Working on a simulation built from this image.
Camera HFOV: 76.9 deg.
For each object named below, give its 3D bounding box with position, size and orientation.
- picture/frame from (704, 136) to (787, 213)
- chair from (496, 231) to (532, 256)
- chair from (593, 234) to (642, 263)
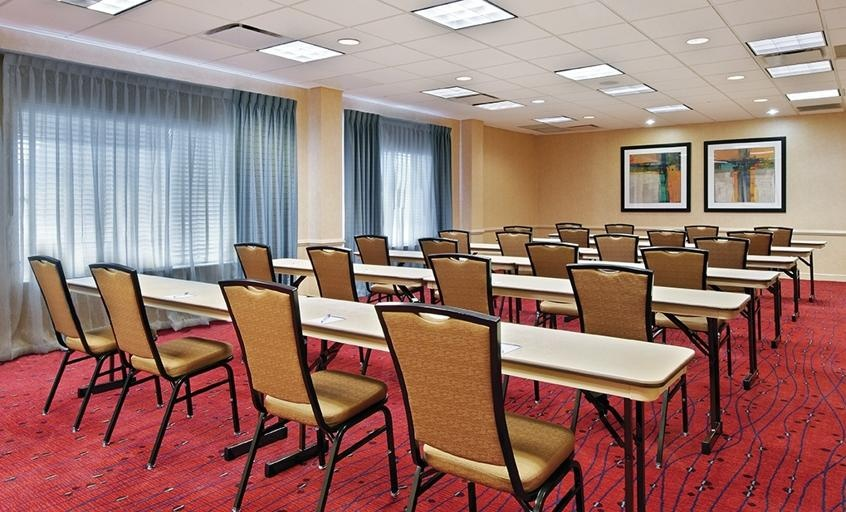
[{"bbox_3d":[6.359,-1.567,10.478,1.423,1.434,0.313,2,11,22],"label":"picture/frame"},{"bbox_3d":[1.159,-0.159,6.825,0.439,0.403,0.372,4,8,28],"label":"chair"},{"bbox_3d":[2.220,-0.097,6.076,0.420,0.506,0.463,6,12,38],"label":"chair"}]
